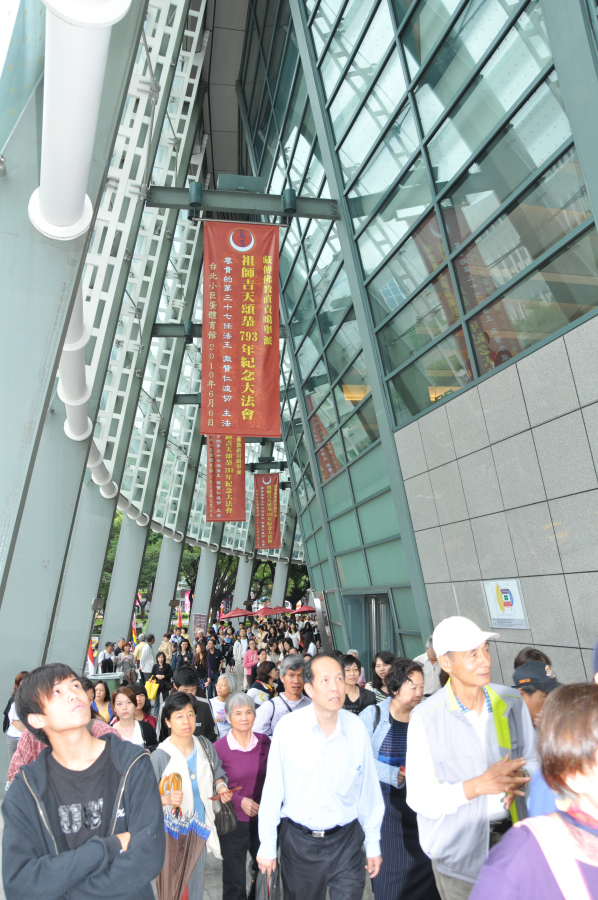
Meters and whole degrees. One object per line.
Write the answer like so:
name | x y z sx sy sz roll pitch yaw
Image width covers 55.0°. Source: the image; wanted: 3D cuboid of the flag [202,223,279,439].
flag | -0.973 -2.110 9.754 1.268 3.839 0.673 1 -22 -12

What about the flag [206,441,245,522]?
flag | -2.215 0.809 17.540 1.172 0.096 3.378 -2 -52 -10

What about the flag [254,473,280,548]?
flag | -1.205 2.205 22.548 0.945 3.367 1.427 -4 -21 -1

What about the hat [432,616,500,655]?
hat | 0.782 0.898 2.783 0.291 0.161 0.215 -26 -11 41
